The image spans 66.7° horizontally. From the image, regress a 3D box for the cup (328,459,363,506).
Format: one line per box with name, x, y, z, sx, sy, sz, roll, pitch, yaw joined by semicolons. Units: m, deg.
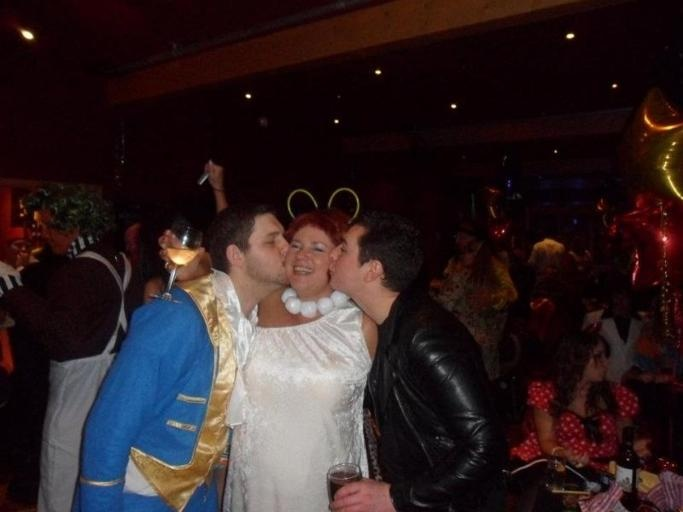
cup;0.006;1.263;2.930;0.190;0.242;0.208;-6;-16;-2
